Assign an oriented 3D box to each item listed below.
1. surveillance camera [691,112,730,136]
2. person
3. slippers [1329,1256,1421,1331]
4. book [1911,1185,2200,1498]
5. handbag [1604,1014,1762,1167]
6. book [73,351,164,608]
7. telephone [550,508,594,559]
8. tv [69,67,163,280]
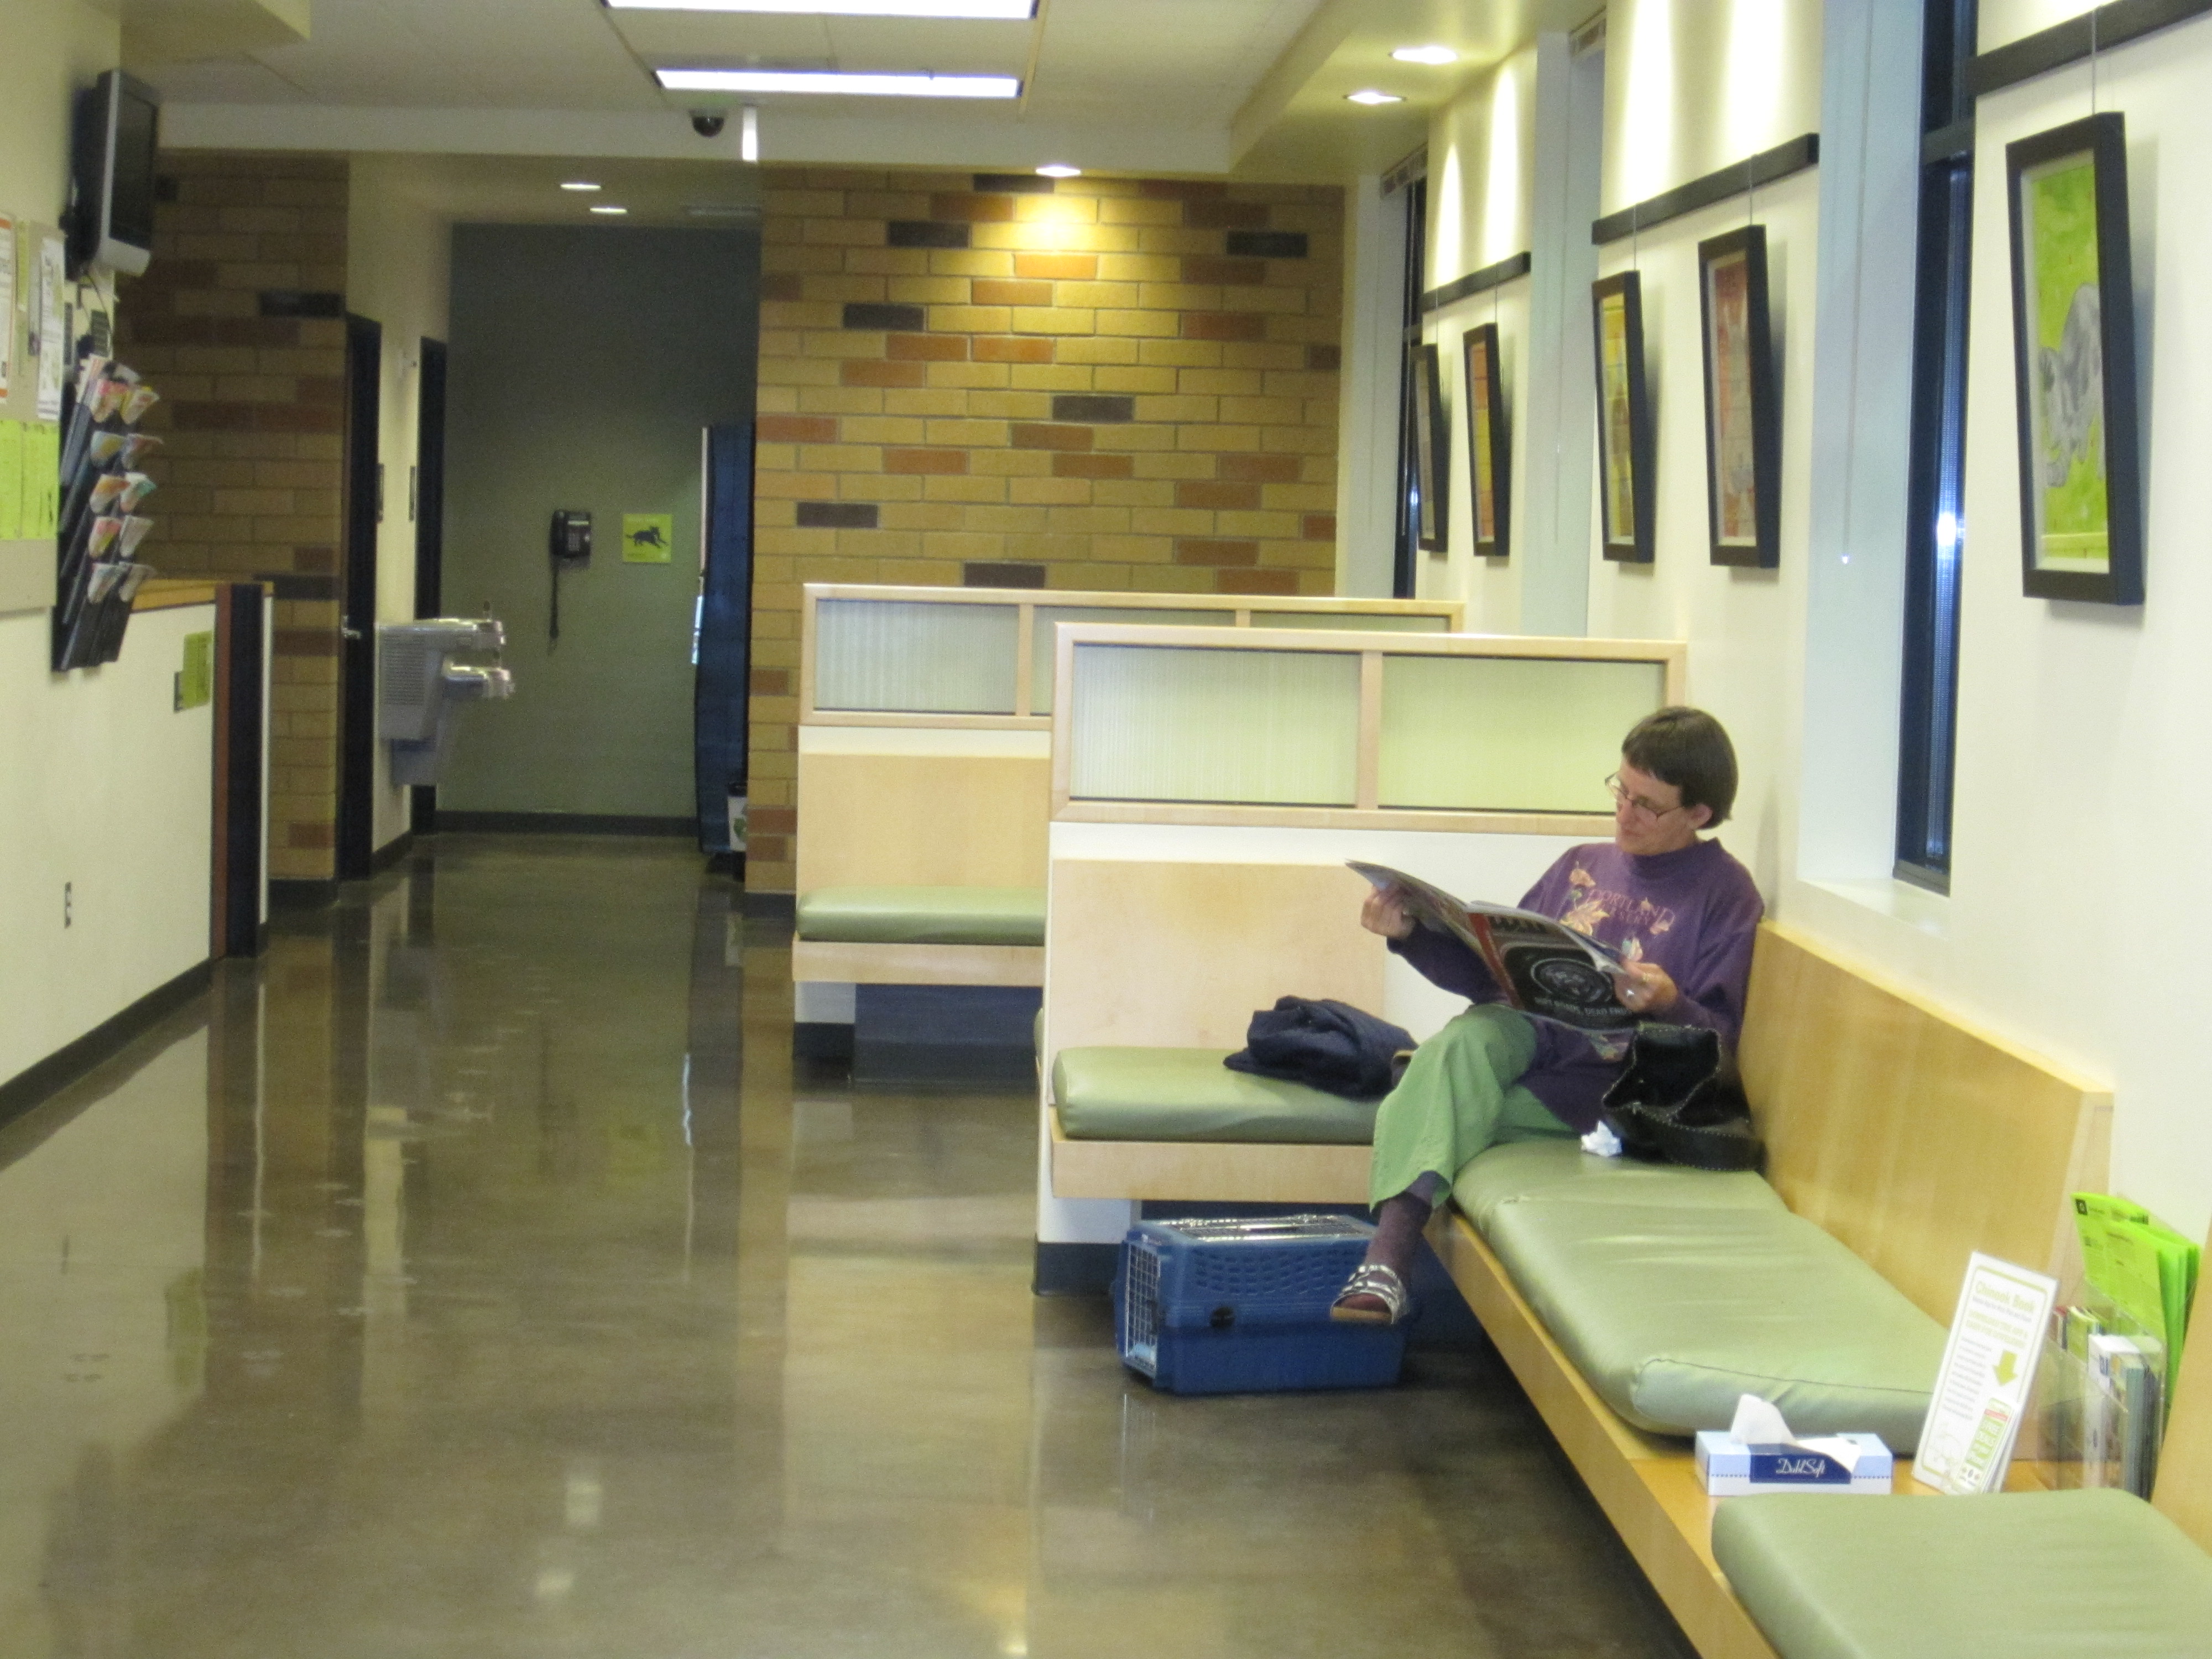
[{"bbox_3d":[-1.850,-3.230,8.291,0.109,0.106,0.026,1,-5,-1],"label":"surveillance camera"},{"bbox_3d":[0.884,0.343,3.682,0.879,1.236,0.645,7,4,-34],"label":"person"},{"bbox_3d":[0.501,0.878,3.455,0.167,0.120,0.379,-1,-4,5],"label":"slippers"},{"bbox_3d":[1.249,0.689,2.386,0.306,0.424,0.242,5,8,27],"label":"book"},{"bbox_3d":[1.122,0.486,3.536,0.269,0.288,0.121,-2,0,7],"label":"handbag"},{"bbox_3d":[-3.140,-1.094,5.675,0.193,0.771,0.538,-1,7,-19],"label":"book"},{"bbox_3d":[-3.203,-1.756,10.703,0.256,0.277,0.262,-1,5,-18],"label":"telephone"},{"bbox_3d":[-3.137,-2.044,5.603,0.191,0.544,0.537,6,11,-19],"label":"tv"}]
